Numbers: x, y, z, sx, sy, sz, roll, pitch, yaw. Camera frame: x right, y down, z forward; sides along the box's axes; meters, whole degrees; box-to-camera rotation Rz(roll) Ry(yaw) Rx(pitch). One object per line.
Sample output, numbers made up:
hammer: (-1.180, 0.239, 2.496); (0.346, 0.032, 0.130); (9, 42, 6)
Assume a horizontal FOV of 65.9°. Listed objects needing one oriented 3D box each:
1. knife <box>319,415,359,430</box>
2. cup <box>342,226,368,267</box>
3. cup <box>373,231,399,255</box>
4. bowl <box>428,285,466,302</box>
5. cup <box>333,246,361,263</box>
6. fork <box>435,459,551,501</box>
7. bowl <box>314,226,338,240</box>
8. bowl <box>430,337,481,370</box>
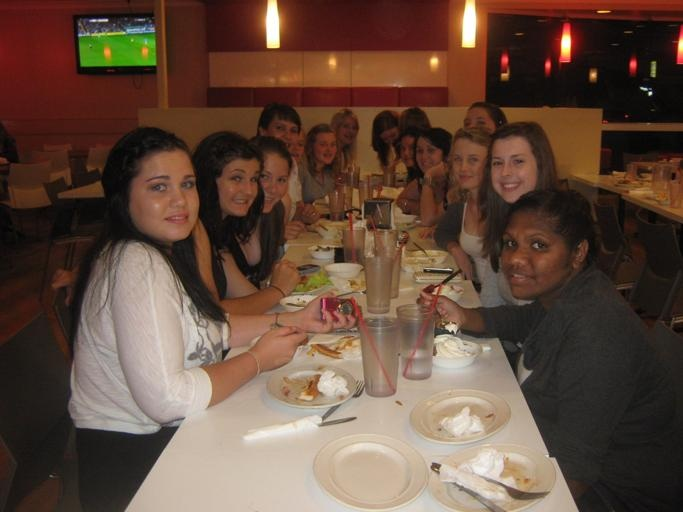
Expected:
knife: (-0.008, 0.413, 1.309); (0.063, 0.007, 0.012); (-11, 34, -8)
cup: (0.068, -0.036, 2.542); (0.161, 0.249, 0.160); (0, 4, 0)
cup: (0.202, -0.063, 2.406); (0.116, 0.109, 0.092); (-2, 10, -3)
bowl: (0.422, 0.137, 2.106); (0.115, 0.046, 0.111); (1, 2, 0)
cup: (0.031, -0.016, 2.616); (0.099, 0.096, 0.093); (1, 4, 0)
fork: (0.319, 0.469, 1.099); (0.222, 0.027, 0.035); (7, 33, 31)
bowl: (-0.094, -0.144, 3.248); (0.091, 0.042, 0.087); (0, 13, 0)
bowl: (0.346, 0.279, 1.567); (0.106, 0.037, 0.106); (-2, 13, 1)
